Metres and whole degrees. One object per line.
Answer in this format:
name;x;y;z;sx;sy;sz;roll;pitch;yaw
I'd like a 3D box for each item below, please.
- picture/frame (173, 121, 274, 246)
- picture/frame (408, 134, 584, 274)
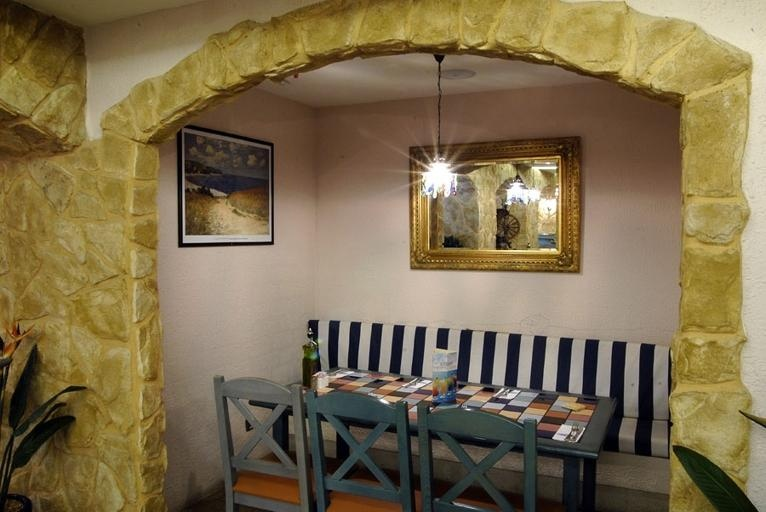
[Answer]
picture/frame;-1.205;-0.497;4.276;0.039;0.870;0.964;2;3;33
picture/frame;0.990;-0.438;4.553;1.200;0.881;0.060;1;4;23
